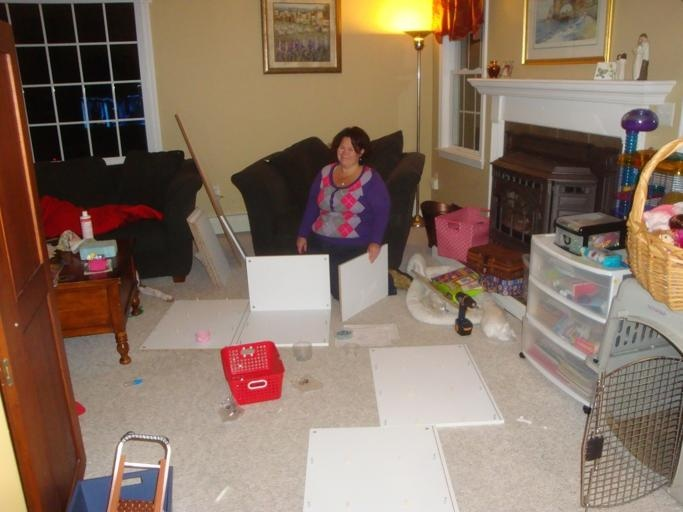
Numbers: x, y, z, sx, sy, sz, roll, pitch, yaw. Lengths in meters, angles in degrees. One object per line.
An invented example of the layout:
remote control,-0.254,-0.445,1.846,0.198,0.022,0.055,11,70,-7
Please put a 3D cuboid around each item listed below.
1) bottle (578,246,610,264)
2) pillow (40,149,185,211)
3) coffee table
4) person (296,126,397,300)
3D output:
bottle,1.291,-0.005,2.729,0.062,0.034,0.102,-35,31,-22
pillow,-2.073,-0.669,4.845,0.793,0.336,0.339,-6,34,-10
coffee table,-1.516,0.323,3.469,0.624,0.541,0.832,-4,23,-9
person,0.026,-0.167,4.161,0.715,1.601,0.431,13,24,27
